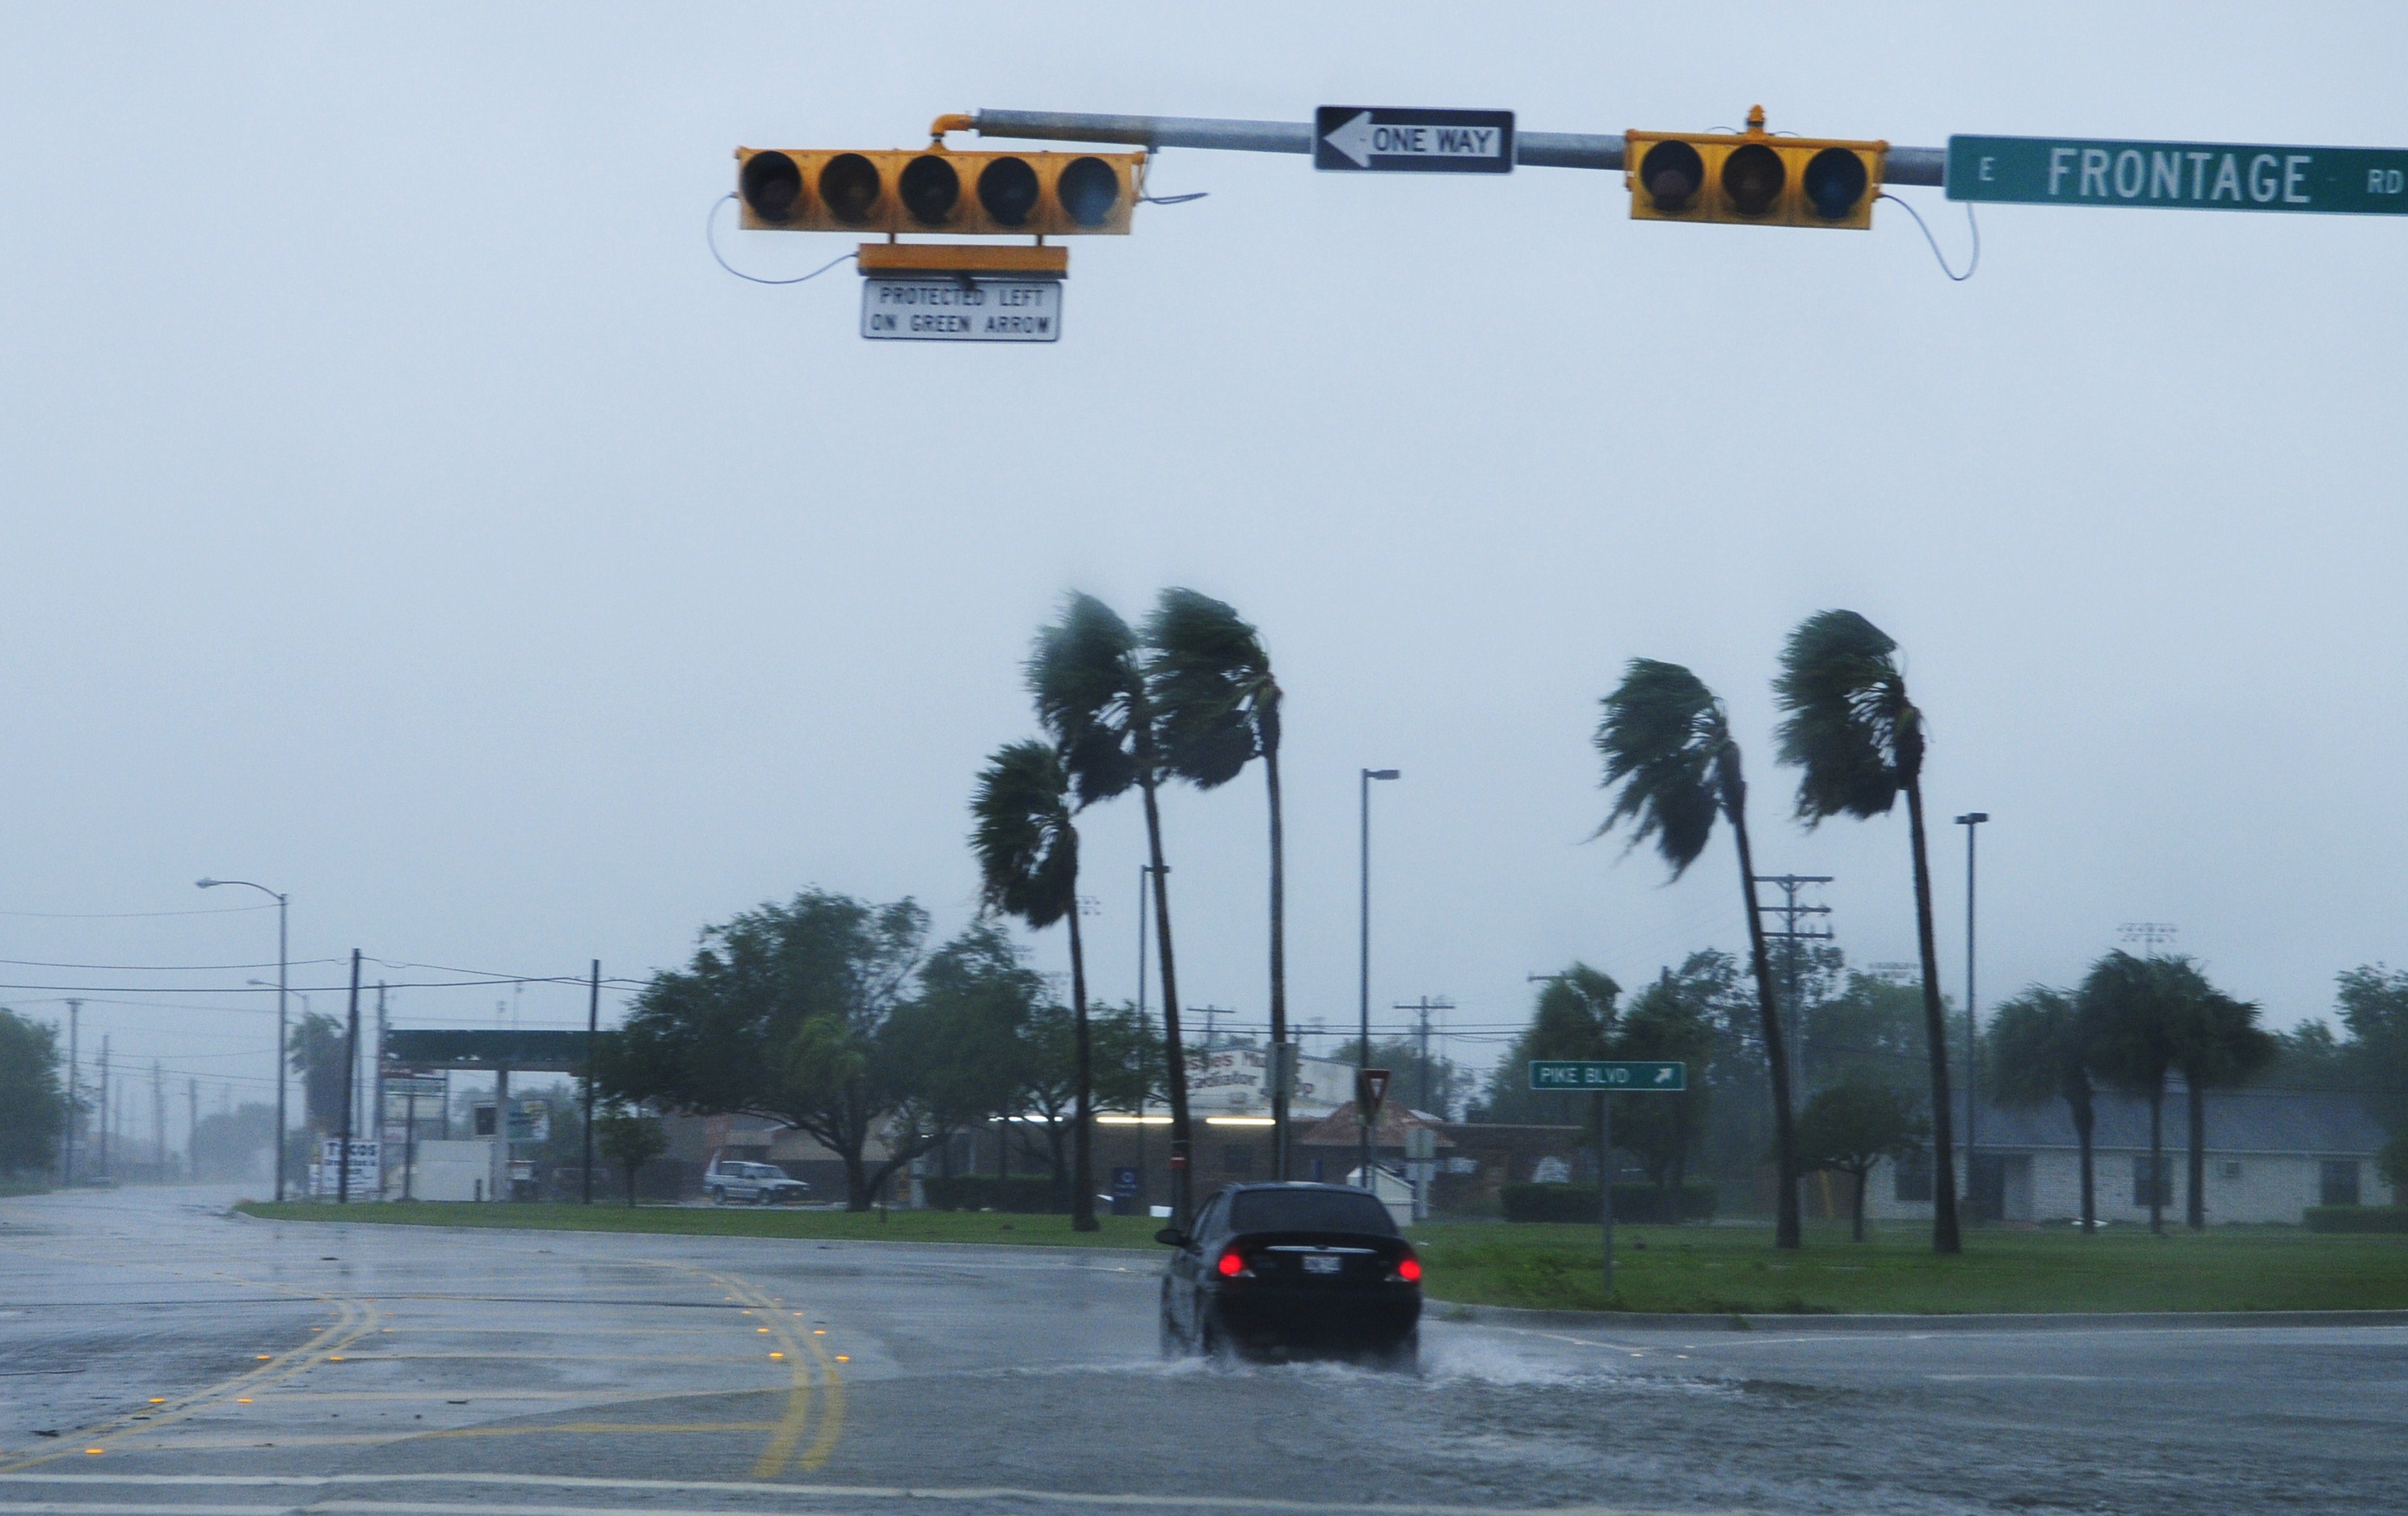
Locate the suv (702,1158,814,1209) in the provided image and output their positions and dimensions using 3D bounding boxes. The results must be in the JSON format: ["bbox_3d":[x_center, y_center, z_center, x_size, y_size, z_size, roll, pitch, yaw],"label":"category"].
[{"bbox_3d":[-16.627,15.671,177.353,3.499,1.395,1.710,-10,-12,35],"label":"suv"}]
